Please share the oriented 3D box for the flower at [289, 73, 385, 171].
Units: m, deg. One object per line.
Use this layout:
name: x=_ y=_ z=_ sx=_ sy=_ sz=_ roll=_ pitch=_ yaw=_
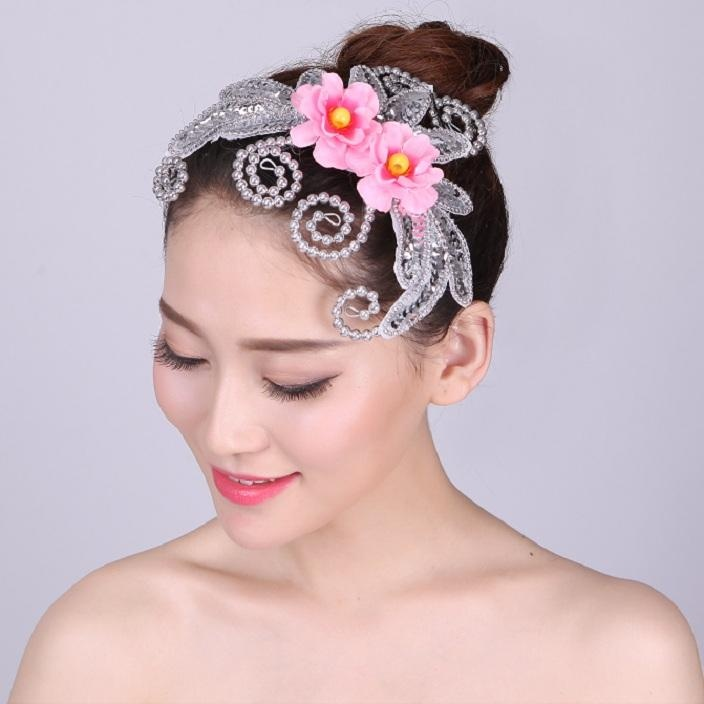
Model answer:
flower: x=-0.029 y=-0.472 z=1.932 sx=0.153 sy=0.046 sz=0.140 roll=-13 pitch=-10 yaw=21
